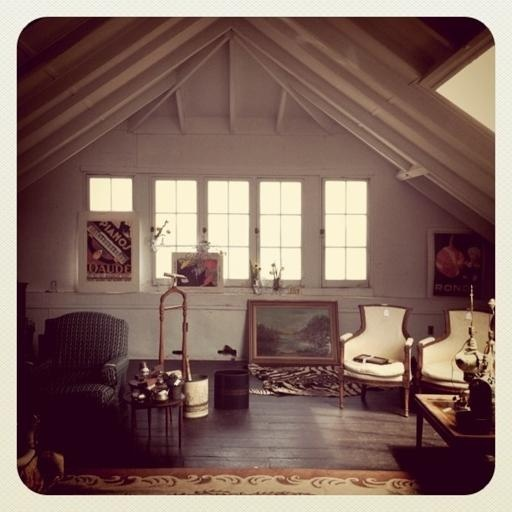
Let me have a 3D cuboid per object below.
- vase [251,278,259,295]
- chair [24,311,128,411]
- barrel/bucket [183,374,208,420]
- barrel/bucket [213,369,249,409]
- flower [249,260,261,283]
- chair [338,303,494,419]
[{"bbox_3d":[-0.014,0.338,6.391,0.099,0.161,0.045,-2,-8,0],"label":"vase"},{"bbox_3d":[-1.347,0.766,4.306,0.733,0.576,0.778,0,5,-7],"label":"chair"},{"bbox_3d":[-0.449,1.100,4.507,0.254,0.314,0.255,1,1,0],"label":"barrel/bucket"},{"bbox_3d":[-0.198,1.108,4.803,0.247,0.237,0.288,0,-6,8],"label":"barrel/bucket"},{"bbox_3d":[-0.014,0.171,6.447,0.119,0.254,0.126,1,4,2],"label":"flower"},{"bbox_3d":[1.290,0.857,4.805,1.198,0.825,0.779,3,5,24],"label":"chair"}]
